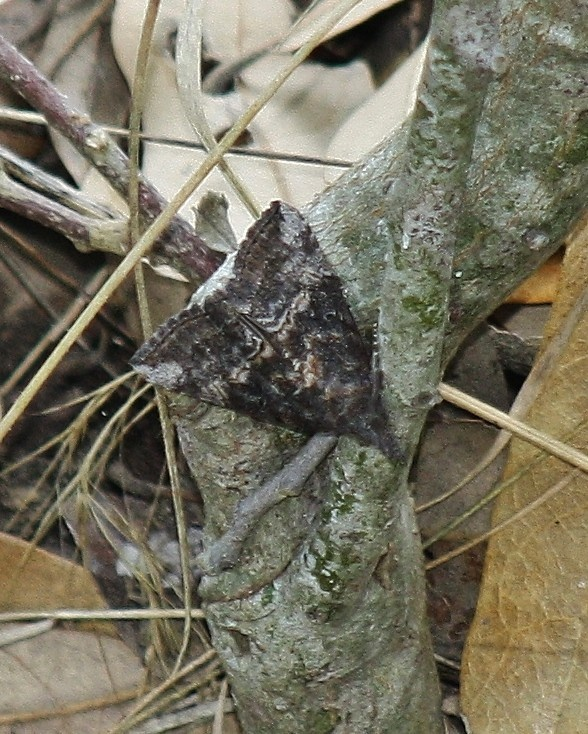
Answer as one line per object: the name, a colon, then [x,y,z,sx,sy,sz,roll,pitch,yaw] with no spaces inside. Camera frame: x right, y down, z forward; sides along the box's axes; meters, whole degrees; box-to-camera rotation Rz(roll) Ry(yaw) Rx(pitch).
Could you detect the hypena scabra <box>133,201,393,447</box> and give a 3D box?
hypena scabra: [-0.065,-0.024,1.926,0.268,0.313,0.087,-27,21,1]
